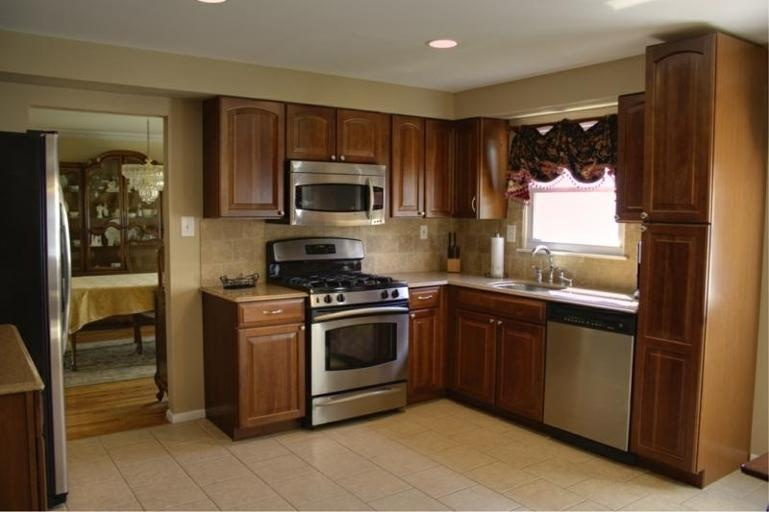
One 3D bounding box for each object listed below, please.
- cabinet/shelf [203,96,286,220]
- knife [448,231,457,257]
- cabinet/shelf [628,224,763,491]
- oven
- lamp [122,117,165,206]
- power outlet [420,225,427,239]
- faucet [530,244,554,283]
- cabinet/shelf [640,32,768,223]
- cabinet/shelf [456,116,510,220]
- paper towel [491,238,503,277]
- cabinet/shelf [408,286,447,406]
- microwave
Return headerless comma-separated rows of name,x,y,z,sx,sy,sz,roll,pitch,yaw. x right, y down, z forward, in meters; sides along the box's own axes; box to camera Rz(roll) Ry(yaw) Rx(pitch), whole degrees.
cabinet/shelf,-1.187,-0.830,4.923,0.587,0.928,0.427,-3,8,-37
knife,0.722,-0.121,6.000,0.110,0.247,0.184,1,9,5
cabinet/shelf,2.227,0.671,4.043,0.895,1.800,0.464,0,10,-1
oven,-0.434,0.816,5.191,1.094,1.153,0.894,0,2,-44
lamp,-3.239,-1.258,7.832,0.508,1.157,1.236,-4,10,-23
power outlet,0.412,-0.248,5.925,0.083,0.148,0.020,-8,13,-41
faucet,1.423,0.065,5.159,0.198,0.374,0.455,3,10,15
cabinet/shelf,2.244,-0.866,3.977,0.800,1.251,0.439,0,10,-3
cabinet/shelf,0.896,-0.821,5.693,0.512,0.920,0.483,-7,11,-36
paper towel,1.078,-0.012,5.516,0.159,0.398,0.152,-1,3,-2
cabinet/shelf,0.402,0.754,5.269,0.456,0.956,0.122,-7,12,-38
microwave,-0.320,-0.564,5.284,0.947,0.525,0.525,3,8,19
